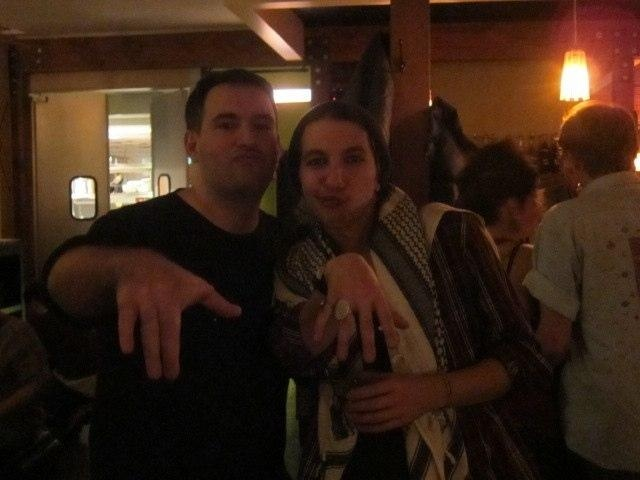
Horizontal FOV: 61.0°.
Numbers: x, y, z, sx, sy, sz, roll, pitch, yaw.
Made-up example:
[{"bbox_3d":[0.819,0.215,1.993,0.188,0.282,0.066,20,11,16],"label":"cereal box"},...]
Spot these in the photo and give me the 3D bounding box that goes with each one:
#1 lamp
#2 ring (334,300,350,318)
[{"bbox_3d":[2.507,-1.836,5.302,0.270,1.076,1.416,2,8,25],"label":"lamp"},{"bbox_3d":[0.072,0.232,1.812,0.043,0.060,0.015,2,-13,32],"label":"ring"}]
